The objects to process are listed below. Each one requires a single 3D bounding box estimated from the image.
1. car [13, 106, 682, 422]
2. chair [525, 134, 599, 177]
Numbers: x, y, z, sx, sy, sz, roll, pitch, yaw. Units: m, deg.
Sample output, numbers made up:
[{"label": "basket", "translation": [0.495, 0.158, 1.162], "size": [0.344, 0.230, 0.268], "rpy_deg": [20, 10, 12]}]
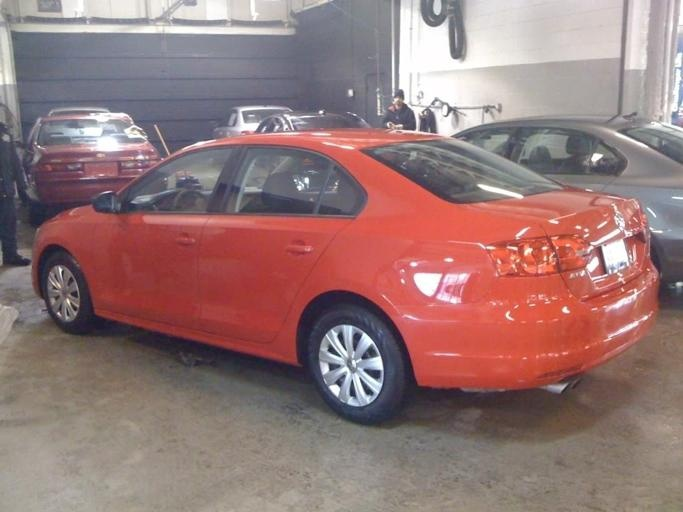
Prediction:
[{"label": "car", "translation": [-0.096, 0.006, 3.527], "size": [3.937, 1.757, 1.167], "rpy_deg": [8, 17, 32]}, {"label": "chair", "translation": [2.286, -1.049, 5.163], "size": [0.563, 0.348, 0.265], "rpy_deg": [9, 7, 37]}]
